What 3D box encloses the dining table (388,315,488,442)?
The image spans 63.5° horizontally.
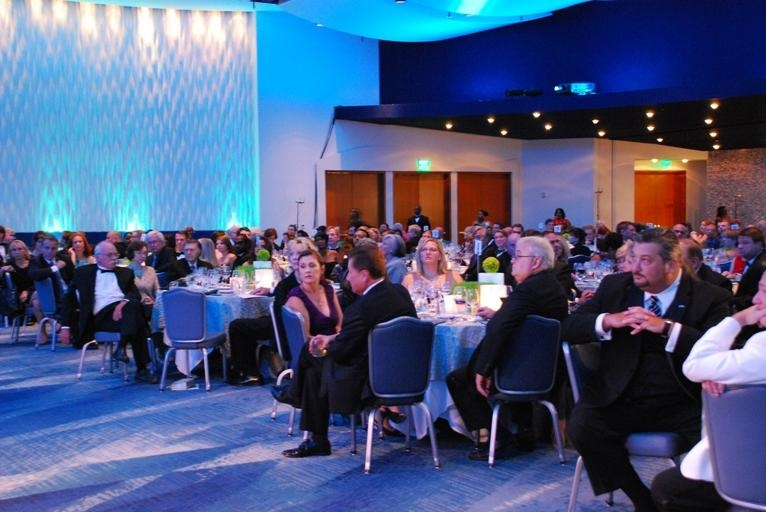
[{"bbox_3d":[0.661,1.048,5.629,0.893,0.828,0.902,0,1,37],"label":"dining table"}]

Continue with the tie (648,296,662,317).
[{"bbox_3d":[1.769,0.328,4.042,0.075,0.130,0.032,-10,-17,34],"label":"tie"}]

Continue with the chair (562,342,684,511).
[{"bbox_3d":[1.497,1.197,4.234,0.637,1.164,0.801,-4,9,-15],"label":"chair"}]

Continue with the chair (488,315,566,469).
[{"bbox_3d":[1.162,1.041,4.970,0.608,1.245,0.478,1,9,13],"label":"chair"}]

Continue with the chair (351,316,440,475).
[{"bbox_3d":[0.136,1.048,5.049,0.616,1.244,0.609,-2,9,-2],"label":"chair"}]
